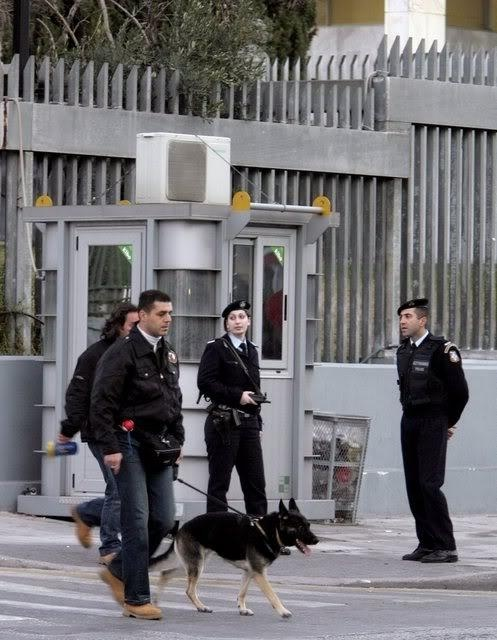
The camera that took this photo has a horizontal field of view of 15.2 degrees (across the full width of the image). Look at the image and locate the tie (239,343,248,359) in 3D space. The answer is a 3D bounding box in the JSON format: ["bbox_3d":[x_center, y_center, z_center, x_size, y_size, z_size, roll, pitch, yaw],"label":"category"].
[{"bbox_3d":[-0.038,0.235,14.778,0.028,0.117,0.079,-10,9,16],"label":"tie"}]

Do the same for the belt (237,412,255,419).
[{"bbox_3d":[-0.028,0.739,14.577,0.094,0.042,0.020,26,-14,-21],"label":"belt"}]

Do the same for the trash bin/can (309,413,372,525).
[{"bbox_3d":[0.834,1.349,17.014,0.510,0.983,0.283,1,0,4],"label":"trash bin/can"}]

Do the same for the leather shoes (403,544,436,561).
[{"bbox_3d":[1.338,1.828,14.626,0.238,0.121,0.094,3,-5,-21],"label":"leather shoes"}]

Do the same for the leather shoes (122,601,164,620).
[{"bbox_3d":[-0.649,1.780,11.466,0.234,0.130,0.100,-2,1,9],"label":"leather shoes"}]

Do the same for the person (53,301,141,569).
[{"bbox_3d":[-0.673,0.822,11.629,0.530,2.069,0.639,-3,-6,36],"label":"person"}]

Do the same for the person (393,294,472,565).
[{"bbox_3d":[1.410,0.853,14.686,0.627,2.067,0.503,1,0,25],"label":"person"}]

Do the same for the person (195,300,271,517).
[{"bbox_3d":[-0.171,0.687,14.739,0.579,1.576,0.603,0,5,-27],"label":"person"}]

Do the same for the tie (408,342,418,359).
[{"bbox_3d":[1.302,0.232,14.780,0.068,0.113,0.037,-1,-8,19],"label":"tie"}]

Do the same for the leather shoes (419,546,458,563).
[{"bbox_3d":[1.489,1.820,14.479,0.251,0.146,0.119,4,-5,-9],"label":"leather shoes"}]

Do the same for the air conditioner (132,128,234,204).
[{"bbox_3d":[-0.581,-1.332,16.248,0.599,0.794,0.601,-9,13,-43],"label":"air conditioner"}]
